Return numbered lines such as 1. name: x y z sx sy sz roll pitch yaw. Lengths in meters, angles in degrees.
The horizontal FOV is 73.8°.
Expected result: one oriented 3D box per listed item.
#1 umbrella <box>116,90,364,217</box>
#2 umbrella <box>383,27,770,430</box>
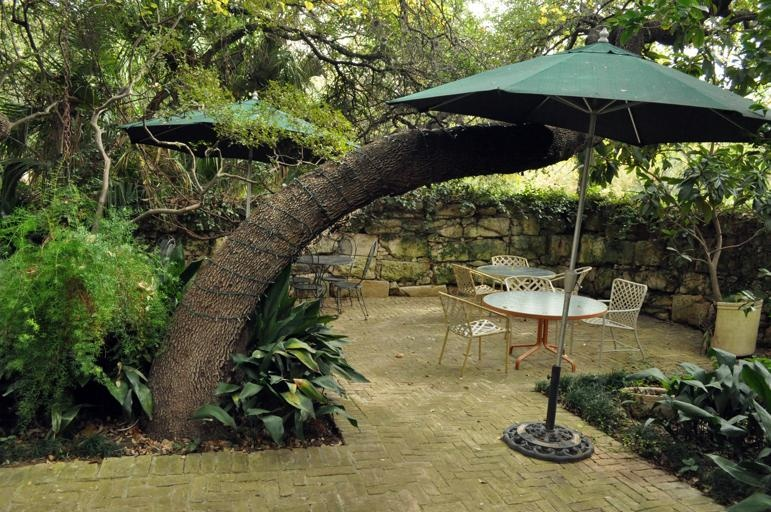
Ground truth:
1. umbrella: -1.784 -1.542 6.350 2.385 0.752 1.530 6 13 14
2. umbrella: 1.741 -0.184 4.797 2.807 3.499 1.476 4 16 1
